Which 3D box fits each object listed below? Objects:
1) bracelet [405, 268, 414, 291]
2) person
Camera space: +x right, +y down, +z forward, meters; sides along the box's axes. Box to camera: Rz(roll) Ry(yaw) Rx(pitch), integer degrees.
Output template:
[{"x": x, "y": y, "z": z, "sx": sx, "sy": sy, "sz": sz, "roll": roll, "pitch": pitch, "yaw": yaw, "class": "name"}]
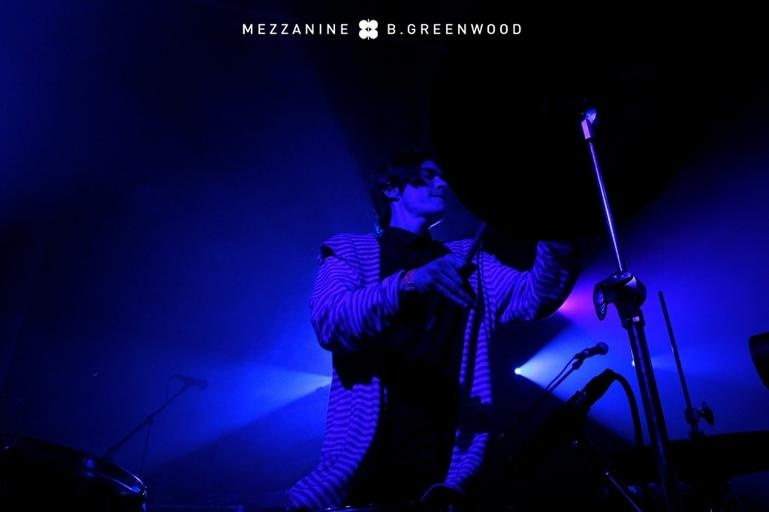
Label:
[{"x": 0.118, "y": 0.118, "z": 3.402, "sx": 0.026, "sy": 0.080, "sz": 0.057, "roll": -1, "pitch": -7, "yaw": 5, "class": "bracelet"}, {"x": 0.206, "y": 0.352, "z": 3.676, "sx": 1.210, "sy": 1.991, "sz": 0.739, "roll": 9, "pitch": -26, "yaw": 6, "class": "person"}]
